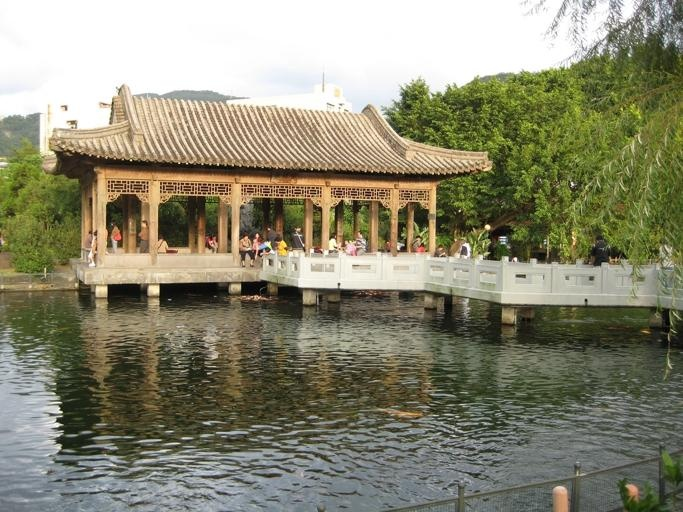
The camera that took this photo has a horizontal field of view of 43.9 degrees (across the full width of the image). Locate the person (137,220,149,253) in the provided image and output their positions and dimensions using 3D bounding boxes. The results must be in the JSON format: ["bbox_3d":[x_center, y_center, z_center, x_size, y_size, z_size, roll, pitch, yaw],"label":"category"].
[{"bbox_3d":[-6.603,-0.673,28.398,0.252,0.908,0.882,-1,1,-15],"label":"person"}]

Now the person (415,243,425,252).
[{"bbox_3d":[2.853,-0.294,30.523,0.284,0.313,0.703,-1,4,5],"label":"person"}]

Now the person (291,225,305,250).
[{"bbox_3d":[-1.457,-0.597,28.704,0.428,0.568,1.275,-1,1,-3],"label":"person"}]
